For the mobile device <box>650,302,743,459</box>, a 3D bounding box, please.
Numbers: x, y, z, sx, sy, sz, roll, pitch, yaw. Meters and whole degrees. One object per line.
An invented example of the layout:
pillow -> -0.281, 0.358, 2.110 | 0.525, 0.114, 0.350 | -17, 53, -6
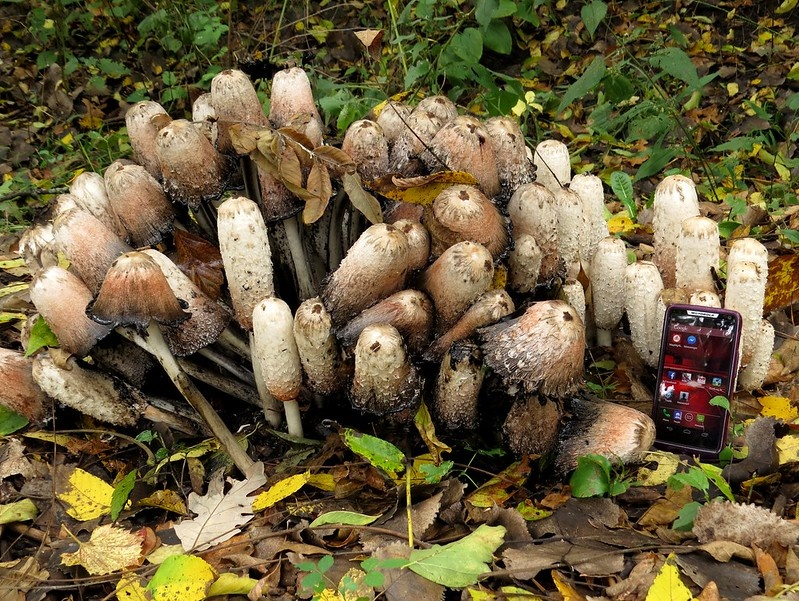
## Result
mobile device -> 1.100, 0.300, 2.936 | 0.257, 0.511, 0.291 | 6, 32, 25
